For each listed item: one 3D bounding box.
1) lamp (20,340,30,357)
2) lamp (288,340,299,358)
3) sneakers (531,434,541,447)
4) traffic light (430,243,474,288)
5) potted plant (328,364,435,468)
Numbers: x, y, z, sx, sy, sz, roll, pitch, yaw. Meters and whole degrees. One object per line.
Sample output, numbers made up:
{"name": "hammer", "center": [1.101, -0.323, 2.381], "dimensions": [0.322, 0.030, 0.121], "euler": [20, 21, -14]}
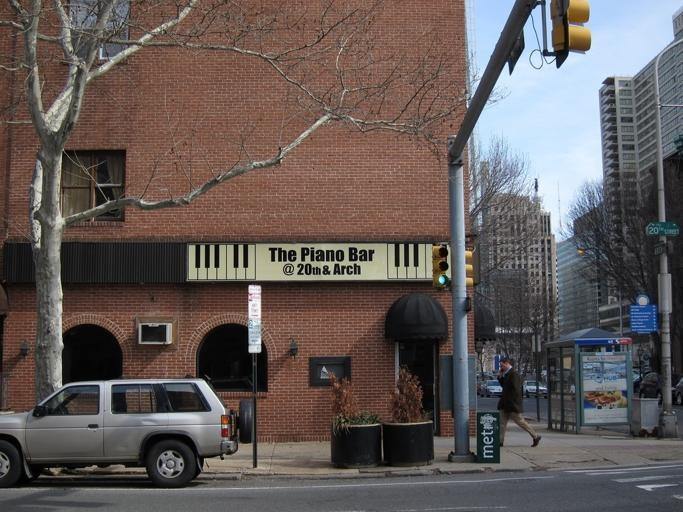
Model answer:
{"name": "lamp", "center": [-9.602, 2.830, 36.853], "dimensions": [0.282, 0.446, 0.362], "euler": [0, -9, -8]}
{"name": "lamp", "center": [-1.467, 2.842, 37.145], "dimensions": [0.328, 0.568, 0.207], "euler": [-1, -8, -3]}
{"name": "sneakers", "center": [5.571, 5.368, 34.892], "dimensions": [0.179, 0.150, 0.454], "euler": [13, -47, 3]}
{"name": "traffic light", "center": [3.014, 0.294, 33.121], "dimensions": [1.076, 1.044, 0.494], "euler": [8, -12, -42]}
{"name": "potted plant", "center": [1.023, 3.633, 32.346], "dimensions": [3.293, 3.411, 2.187], "euler": [1, -13, -6]}
